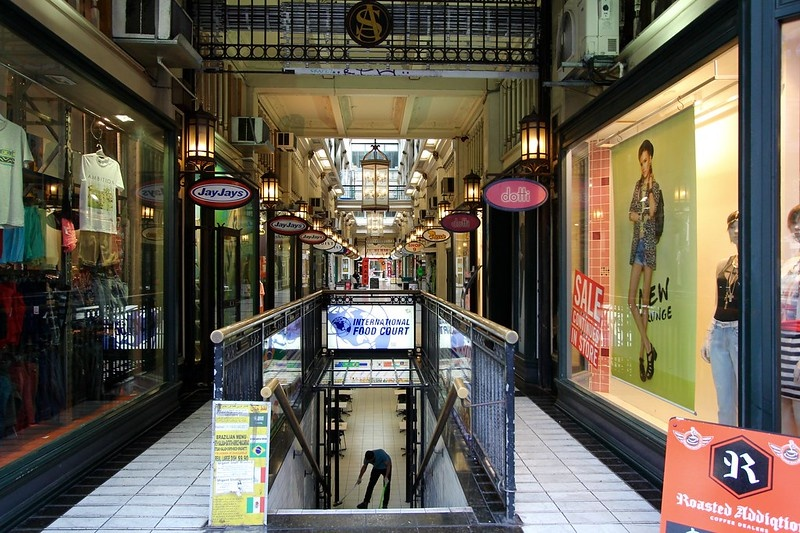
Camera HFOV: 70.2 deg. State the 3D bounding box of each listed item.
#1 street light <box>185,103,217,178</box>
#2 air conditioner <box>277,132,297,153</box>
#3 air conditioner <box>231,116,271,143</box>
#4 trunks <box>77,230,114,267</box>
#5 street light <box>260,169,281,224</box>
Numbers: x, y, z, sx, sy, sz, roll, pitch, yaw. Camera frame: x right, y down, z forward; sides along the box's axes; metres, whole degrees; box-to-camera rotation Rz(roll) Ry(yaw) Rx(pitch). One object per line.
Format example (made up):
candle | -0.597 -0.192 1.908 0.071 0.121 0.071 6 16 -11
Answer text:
street light | -2.773 -1.738 7.891 0.398 0.844 0.402 2 2 17
air conditioner | -2.876 -3.091 14.213 0.366 0.475 0.713 -2 5 -2
air conditioner | -2.639 -2.342 9.853 0.396 0.572 0.773 0 3 0
trunks | -3.411 -0.176 6.353 0.350 0.364 0.140 5 -18 -45
street light | -2.583 -1.307 11.175 0.318 1.121 0.327 5 7 43
